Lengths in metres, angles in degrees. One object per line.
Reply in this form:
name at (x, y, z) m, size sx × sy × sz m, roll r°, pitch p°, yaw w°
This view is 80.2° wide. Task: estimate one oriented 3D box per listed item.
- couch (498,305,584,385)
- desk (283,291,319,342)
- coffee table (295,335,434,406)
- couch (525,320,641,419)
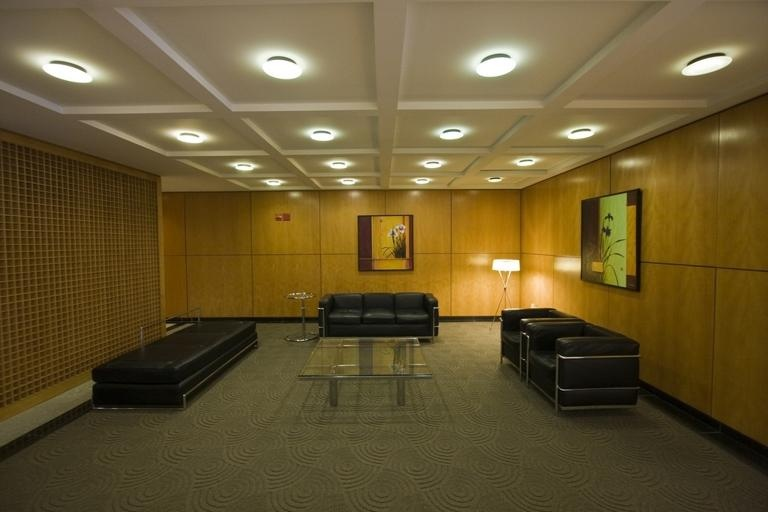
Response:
couch at (2.493, 1.383, 7.465) m, size 1.198 × 0.965 × 1.059 m, roll 1°, pitch -1°, yaw -1°
desk at (-1.670, 1.246, 9.489) m, size 0.838 × 0.778 × 0.773 m, roll 7°, pitch -13°, yaw -26°
coffee table at (-0.269, 1.514, 6.800) m, size 1.708 × 0.285 × 1.613 m, roll -1°, pitch 3°, yaw -2°
couch at (2.855, 1.540, 6.771) m, size 1.183 × 0.831 × 1.413 m, roll -2°, pitch 2°, yaw -2°
